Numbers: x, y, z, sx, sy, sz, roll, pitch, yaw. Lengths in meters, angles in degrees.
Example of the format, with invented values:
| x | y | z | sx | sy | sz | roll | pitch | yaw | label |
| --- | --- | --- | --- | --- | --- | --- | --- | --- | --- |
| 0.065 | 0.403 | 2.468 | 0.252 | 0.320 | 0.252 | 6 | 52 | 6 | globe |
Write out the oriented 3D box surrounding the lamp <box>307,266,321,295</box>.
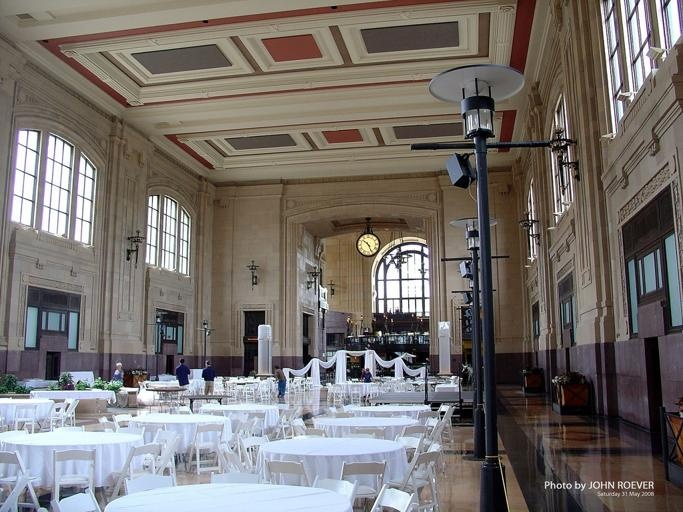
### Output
| x | y | z | sx | sy | sz | roll | pitch | yaw | label |
| --- | --- | --- | --- | --- | --- | --- | --- | --- | --- |
| -1.794 | 1.309 | 36.517 | 0.607 | 1.819 | 2.004 | -4 | -12 | 9 | lamp |

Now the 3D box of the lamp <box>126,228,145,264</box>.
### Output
| x | y | z | sx | sy | sz | roll | pitch | yaw | label |
| --- | --- | --- | --- | --- | --- | --- | --- | --- | --- |
| -9.249 | -0.396 | 25.234 | 0.754 | 1.555 | 0.751 | -4 | -9 | 10 | lamp |

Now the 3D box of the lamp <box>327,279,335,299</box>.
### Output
| x | y | z | sx | sy | sz | roll | pitch | yaw | label |
| --- | --- | --- | --- | --- | --- | --- | --- | --- | --- |
| -0.872 | 2.826 | 51.634 | 0.725 | 1.482 | 0.438 | -1 | -11 | -7 | lamp |

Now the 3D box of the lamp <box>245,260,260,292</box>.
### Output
| x | y | z | sx | sy | sz | roll | pitch | yaw | label |
| --- | --- | --- | --- | --- | --- | --- | --- | --- | --- |
| -5.037 | 0.963 | 32.116 | 0.686 | 1.607 | 0.365 | 0 | -11 | -9 | lamp |

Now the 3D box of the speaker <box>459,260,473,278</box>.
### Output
| x | y | z | sx | sy | sz | roll | pitch | yaw | label |
| --- | --- | --- | --- | --- | --- | --- | --- | --- | --- |
| 3.053 | 0.374 | 13.555 | 0.302 | 0.617 | 0.612 | 0 | -8 | 3 | speaker |
